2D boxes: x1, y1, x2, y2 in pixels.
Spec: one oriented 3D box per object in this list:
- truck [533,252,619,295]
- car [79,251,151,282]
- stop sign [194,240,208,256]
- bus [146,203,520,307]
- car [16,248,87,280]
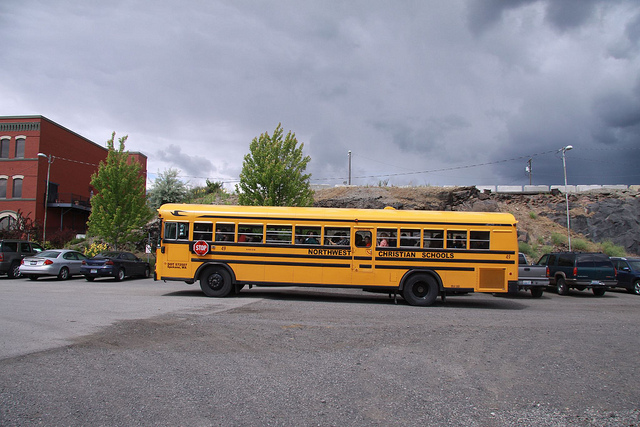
[{"bbox_3d":[12.745,2.629,22.032,2.318,1.754,4.206,1,0,-3],"label":"truck"},{"bbox_3d":[-10.767,2.795,22.935,1.278,1.518,3.150,4,7,24],"label":"car"},{"bbox_3d":[-4.688,1.354,16.948,0.520,0.511,0.083,9,4,-5],"label":"stop sign"},{"bbox_3d":[0.586,1.711,18.236,14.181,4.074,4.464,1,-4,6],"label":"bus"},{"bbox_3d":[-13.909,2.693,23.137,1.446,1.028,3.449,1,-1,8],"label":"car"}]
